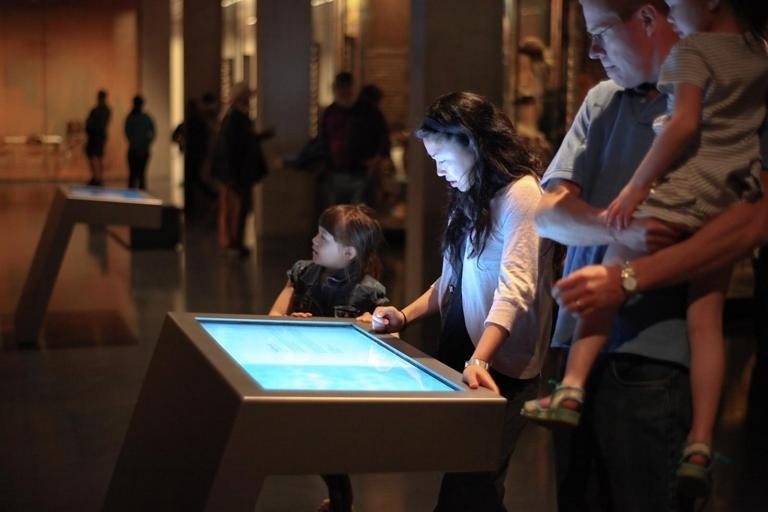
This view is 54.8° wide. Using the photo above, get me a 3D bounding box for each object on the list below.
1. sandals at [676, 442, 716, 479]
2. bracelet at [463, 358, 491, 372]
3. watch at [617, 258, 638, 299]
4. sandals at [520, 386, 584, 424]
[{"bbox_3d":[1.052,0.688,2.488,0.118,0.116,0.093,2,11,12],"label":"sandals"},{"bbox_3d":[0.326,0.392,2.632,0.073,0.046,0.071,27,-26,-30],"label":"bracelet"},{"bbox_3d":[0.804,0.085,2.430,0.059,0.112,0.035,3,11,18],"label":"watch"},{"bbox_3d":[0.587,0.521,2.619,0.221,0.161,0.104,-1,-14,43],"label":"sandals"}]
